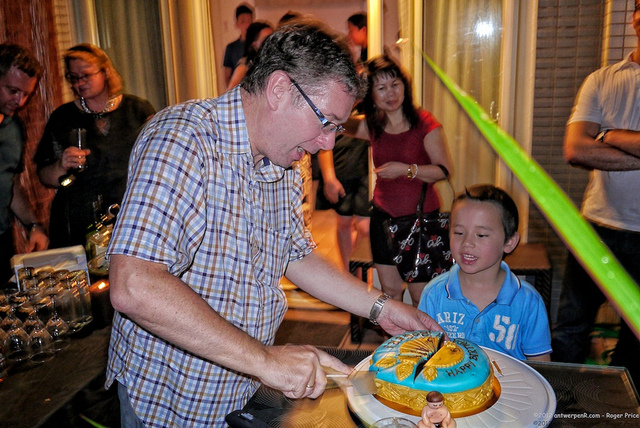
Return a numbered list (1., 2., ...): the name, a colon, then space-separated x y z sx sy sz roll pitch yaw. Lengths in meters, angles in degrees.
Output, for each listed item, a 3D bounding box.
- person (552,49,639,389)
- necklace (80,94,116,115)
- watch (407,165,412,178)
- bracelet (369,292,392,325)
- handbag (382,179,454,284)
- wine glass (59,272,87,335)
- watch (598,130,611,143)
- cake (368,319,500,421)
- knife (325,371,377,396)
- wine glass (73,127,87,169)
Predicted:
1. person: 1.845 0.076 3.248 0.510 2.104 0.975 3 14 26
2. necklace: -1.541 -0.757 3.504 0.237 0.131 0.068 -10 14 -27
3. watch: 0.598 -0.267 3.316 0.018 0.062 0.052 2 42 10
4. bracelet: 0.264 0.418 2.183 0.081 0.129 0.122 25 -20 21
5. handbag: 0.636 0.119 3.281 0.503 0.733 0.197 -16 -1 -1
6. wine glass: -1.248 0.437 2.520 0.146 0.280 0.146 2 -7 -30
7. watch: 1.568 -0.427 2.754 0.044 0.058 0.056 -15 17 -41
8. cake: 0.427 0.585 1.866 0.474 0.181 0.299 -4 13 -3
9. knife: 0.119 0.614 1.846 0.189 0.068 0.095 -4 13 -1
10. wine glass: -1.365 -0.365 2.848 0.091 0.225 0.083 -10 14 -28
